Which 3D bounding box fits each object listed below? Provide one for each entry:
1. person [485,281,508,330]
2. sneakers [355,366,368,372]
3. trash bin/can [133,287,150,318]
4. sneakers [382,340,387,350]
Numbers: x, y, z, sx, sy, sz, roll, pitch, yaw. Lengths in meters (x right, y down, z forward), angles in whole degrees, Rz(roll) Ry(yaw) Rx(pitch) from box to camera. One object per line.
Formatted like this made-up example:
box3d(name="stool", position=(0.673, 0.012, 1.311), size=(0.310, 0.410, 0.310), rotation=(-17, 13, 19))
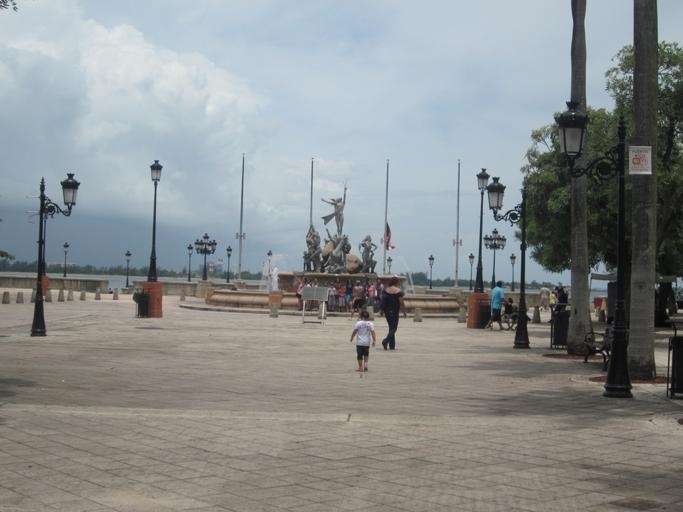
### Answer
box3d(name="person", position=(5.394, 1.626, 34.086), size=(0.602, 1.630, 0.618), rotation=(1, -1, 40))
box3d(name="sneakers", position=(0.400, 2.289, 20.237), size=(0.081, 0.104, 0.259), rotation=(4, -2, -25))
box3d(name="trash bin/can", position=(-7.252, 1.660, 35.966), size=(0.545, 1.070, 2.238), rotation=(0, 5, -11))
box3d(name="sneakers", position=(1.082, 2.224, 24.903), size=(0.082, 0.255, 0.106), rotation=(-3, 17, 2))
